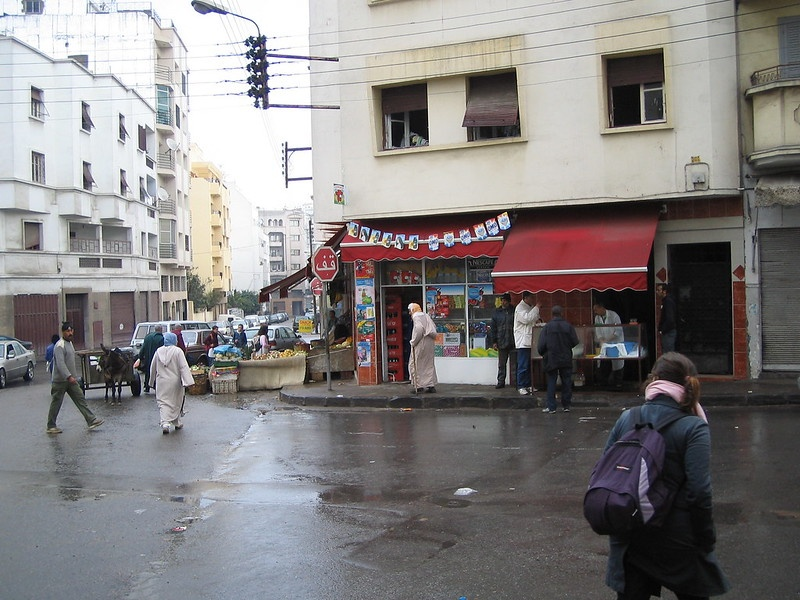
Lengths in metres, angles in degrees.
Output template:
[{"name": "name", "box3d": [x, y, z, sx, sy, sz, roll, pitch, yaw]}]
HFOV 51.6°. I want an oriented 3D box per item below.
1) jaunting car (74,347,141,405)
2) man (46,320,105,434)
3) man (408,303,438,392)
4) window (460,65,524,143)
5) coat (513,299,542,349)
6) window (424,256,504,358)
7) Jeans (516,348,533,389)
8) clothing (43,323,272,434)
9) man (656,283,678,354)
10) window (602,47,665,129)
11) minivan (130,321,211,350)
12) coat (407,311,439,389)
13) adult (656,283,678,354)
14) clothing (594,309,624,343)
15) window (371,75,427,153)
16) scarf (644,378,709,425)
[{"name": "jaunting car", "box3d": [-7.889, 2.052, 22.366, 1.019, 1.043, 1.803, 0, -15, -8]}, {"name": "man", "box3d": [-6.594, 1.530, 16.604, 1.187, 2.198, 0.791, -2, 0, 14]}, {"name": "man", "box3d": [0.502, 1.093, 18.853, 0.625, 2.043, 0.660, -3, 4, -3]}, {"name": "window", "box3d": [2.136, -4.697, 19.587, 1.250, 0.073, 1.581, 0, -39, 7]}, {"name": "coat", "box3d": [2.817, 0.749, 18.253, 0.546, 1.495, 0.593, -6, 4, 0]}, {"name": "window", "box3d": [1.623, 0.193, 19.977, 2.071, 2.627, 0.118, -3, -4, 23]}, {"name": "Jeans", "box3d": [2.733, 1.485, 18.085, 0.310, 0.873, 0.245, -3, 4, -2]}, {"name": "clothing", "box3d": [-5.078, 1.584, 17.464, 3.967, 2.621, 1.479, -2, 7, -5]}, {"name": "man", "box3d": [5.887, 0.410, 18.137, 0.387, 1.496, 0.872, -2, 4, 17]}, {"name": "window", "box3d": [5.294, -4.815, 18.585, 1.690, 2.185, 0.177, 2, 19, 30]}, {"name": "minivan", "box3d": [-8.406, 1.026, 30.098, 1.694, 1.436, 3.454, -1, 0, 23]}, {"name": "coat", "box3d": [0.508, 1.097, 18.787, 0.606, 2.043, 0.509, -3, 4, -6]}, {"name": "adult", "box3d": [5.886, 0.410, 18.141, 0.390, 1.496, 0.880, -2, 4, 18]}, {"name": "clothing", "box3d": [4.564, 0.584, 18.018, 0.594, 0.678, 0.524, -2, 4, 13]}, {"name": "window", "box3d": [-0.026, -4.674, 20.561, 1.681, 2.189, 0.178, 4, 18, 22]}, {"name": "scarf", "box3d": [2.499, 0.926, 7.676, 0.371, 0.264, 0.513, 5, 1, -5]}]
